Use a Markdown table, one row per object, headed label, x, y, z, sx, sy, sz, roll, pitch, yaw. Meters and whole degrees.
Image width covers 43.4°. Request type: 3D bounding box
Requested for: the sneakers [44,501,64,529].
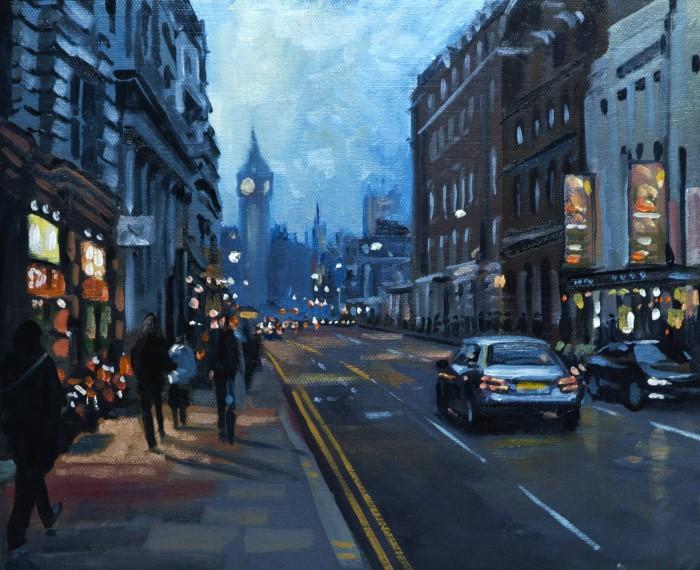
| label | x | y | z | sx | sy | sz | roll | pitch | yaw |
| --- | --- | --- | --- | --- | --- | --- | --- | --- | --- |
| sneakers | -3.366 | 2.614 | 9.986 | 0.105 | 0.356 | 0.243 | 6 | -35 | 2 |
